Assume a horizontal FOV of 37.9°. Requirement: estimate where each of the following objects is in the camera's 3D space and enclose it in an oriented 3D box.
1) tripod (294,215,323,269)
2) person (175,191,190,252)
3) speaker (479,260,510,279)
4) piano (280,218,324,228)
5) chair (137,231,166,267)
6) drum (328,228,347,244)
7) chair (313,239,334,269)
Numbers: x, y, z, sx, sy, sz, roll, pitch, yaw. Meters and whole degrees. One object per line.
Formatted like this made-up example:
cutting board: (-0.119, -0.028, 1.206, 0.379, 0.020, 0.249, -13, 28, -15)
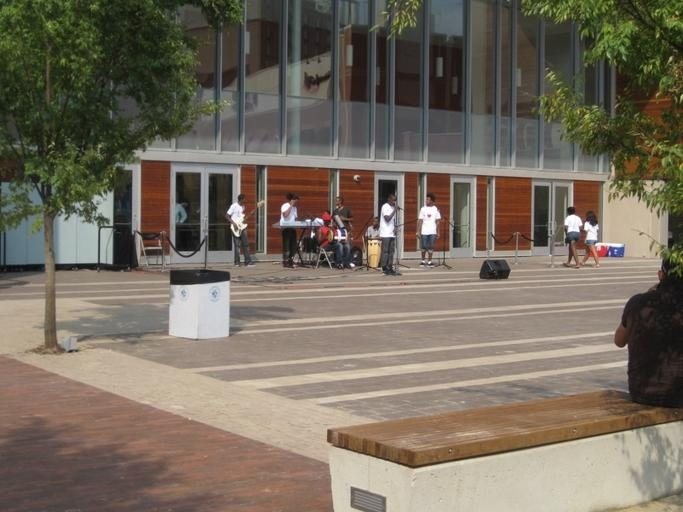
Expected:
tripod: (-1.146, -0.379, 28.804, 1.068, 1.594, 1.211, 2, 3, 4)
person: (-4.593, -0.950, 28.602, 0.194, 1.478, 0.449, 4, 5, 38)
speaker: (3.932, 0.331, 25.682, 0.594, 0.514, 0.512, 3, 16, -37)
piano: (-1.159, -0.895, 27.672, 0.574, 0.212, 1.533, 5, 5, 41)
chair: (-5.237, -0.228, 27.257, 0.777, 0.951, 1.633, 1, 4, -11)
drum: (-0.080, -0.567, 27.652, 0.468, 0.441, 0.296, 2, 4, 10)
chair: (-0.493, 0.022, 28.379, 0.541, 0.916, 0.515, 2, -3, -19)
